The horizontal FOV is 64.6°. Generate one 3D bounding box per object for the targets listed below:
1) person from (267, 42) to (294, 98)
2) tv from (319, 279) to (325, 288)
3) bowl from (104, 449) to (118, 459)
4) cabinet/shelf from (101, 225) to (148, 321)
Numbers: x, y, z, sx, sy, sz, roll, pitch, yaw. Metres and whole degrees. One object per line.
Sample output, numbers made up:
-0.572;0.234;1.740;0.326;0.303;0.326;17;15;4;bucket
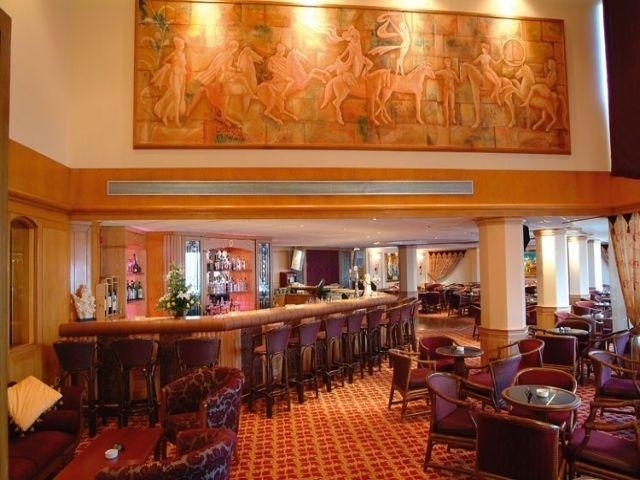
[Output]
-0.698;-2.943;8.796;0.421;0.923;0.117;0;7;-6;person
0.038;1.492;17.864;0.110;0.442;0.431;13;-8;-6;tv
-2.240;2.287;5.456;0.103;0.045;0.106;2;3;0;bowl
-3.834;0.628;9.813;0.436;2.023;1.685;-1;-3;-7;cabinet/shelf
